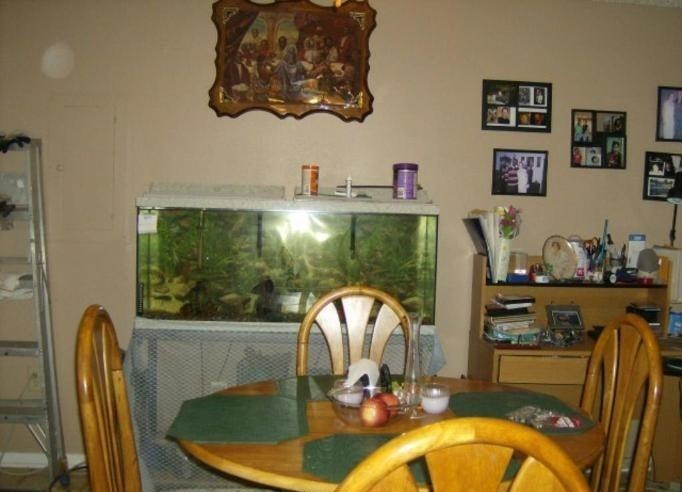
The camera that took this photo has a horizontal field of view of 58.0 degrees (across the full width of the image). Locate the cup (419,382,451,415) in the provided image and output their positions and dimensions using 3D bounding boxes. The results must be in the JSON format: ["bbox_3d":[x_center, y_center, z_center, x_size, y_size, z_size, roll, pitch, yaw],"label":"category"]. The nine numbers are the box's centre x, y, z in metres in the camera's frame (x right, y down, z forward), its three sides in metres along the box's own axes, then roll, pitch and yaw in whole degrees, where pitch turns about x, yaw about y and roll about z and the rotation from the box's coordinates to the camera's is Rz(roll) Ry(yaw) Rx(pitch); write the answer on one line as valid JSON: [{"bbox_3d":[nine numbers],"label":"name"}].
[{"bbox_3d":[0.386,0.633,2.578,0.109,0.091,0.112,1,-1,0],"label":"cup"}]

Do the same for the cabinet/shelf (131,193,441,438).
[{"bbox_3d":[-0.333,0.356,3.158,1.239,1.125,0.455,0,3,1],"label":"cabinet/shelf"}]

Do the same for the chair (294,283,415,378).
[{"bbox_3d":[0.079,0.434,3.336,0.478,0.652,0.492,1,-5,-1],"label":"chair"}]

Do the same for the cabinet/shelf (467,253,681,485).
[{"bbox_3d":[1.200,0.610,3.141,1.269,1.307,0.717,1,-7,5],"label":"cabinet/shelf"}]

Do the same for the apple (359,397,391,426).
[{"bbox_3d":[0.137,0.672,2.490,0.100,0.106,0.104,-5,-21,19],"label":"apple"}]

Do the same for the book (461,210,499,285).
[{"bbox_3d":[0.878,0.002,3.811,0.113,0.373,0.269,-16,12,-14],"label":"book"}]

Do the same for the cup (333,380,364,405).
[{"bbox_3d":[0.033,0.611,2.585,0.094,0.070,0.087,2,-1,0],"label":"cup"}]

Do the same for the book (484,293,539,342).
[{"bbox_3d":[1.026,0.426,3.724,0.271,0.210,0.283,1,0,5],"label":"book"}]

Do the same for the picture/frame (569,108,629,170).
[{"bbox_3d":[1.685,-0.721,4.077,0.387,0.407,0.026,1,4,-5],"label":"picture/frame"}]

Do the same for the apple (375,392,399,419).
[{"bbox_3d":[0.179,0.652,2.523,0.085,0.095,0.084,0,-1,-28],"label":"apple"}]

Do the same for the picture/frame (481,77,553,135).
[{"bbox_3d":[1.126,-0.927,4.025,0.359,0.259,0.014,1,1,-6],"label":"picture/frame"}]
